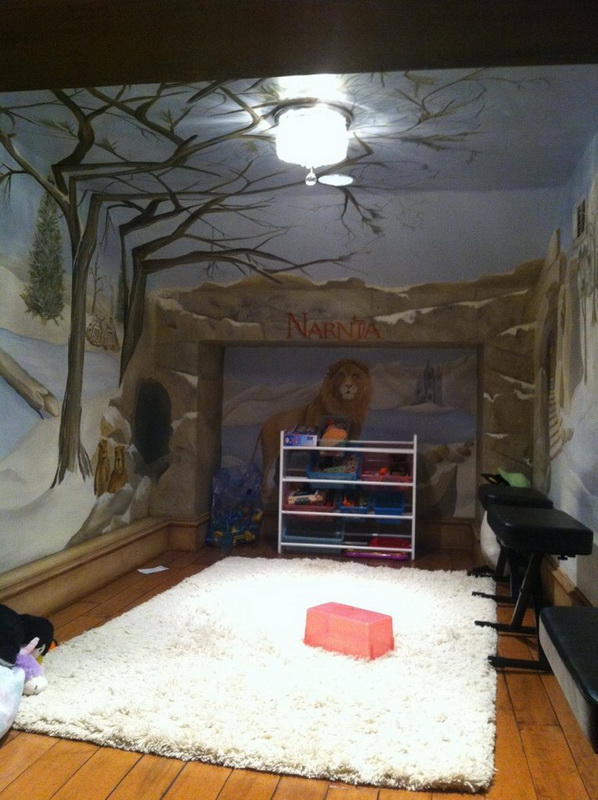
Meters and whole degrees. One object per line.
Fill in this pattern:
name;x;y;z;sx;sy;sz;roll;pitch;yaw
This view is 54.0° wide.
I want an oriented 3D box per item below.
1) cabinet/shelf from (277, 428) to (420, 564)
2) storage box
cabinet/shelf;0.515;0.880;5.991;1.492;1.126;0.497;2;1;7
storage box;0.312;1.268;3.421;0.500;0.228;0.431;0;0;30
